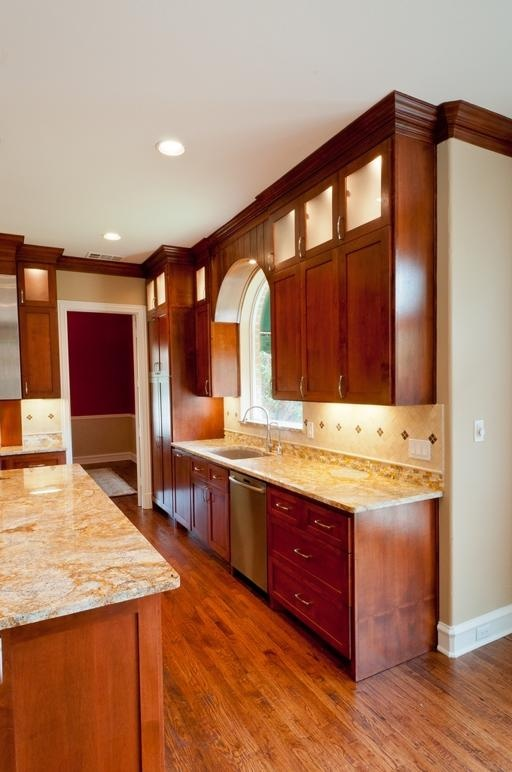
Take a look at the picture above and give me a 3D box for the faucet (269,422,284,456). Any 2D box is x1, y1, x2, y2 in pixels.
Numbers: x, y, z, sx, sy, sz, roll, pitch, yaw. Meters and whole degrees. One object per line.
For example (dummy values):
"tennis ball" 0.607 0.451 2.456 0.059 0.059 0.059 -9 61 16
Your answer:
"faucet" 0.139 0.364 4.136 0.099 0.210 0.255 -1 3 2

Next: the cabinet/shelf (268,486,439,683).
"cabinet/shelf" 0.460 0.858 2.972 0.624 0.758 0.808 -4 6 -38

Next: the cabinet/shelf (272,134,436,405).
"cabinet/shelf" 0.488 -0.568 2.832 0.334 1.369 1.199 1 -1 -19

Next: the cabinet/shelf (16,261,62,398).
"cabinet/shelf" -1.764 -0.447 4.819 0.292 1.095 0.165 -3 4 -24
